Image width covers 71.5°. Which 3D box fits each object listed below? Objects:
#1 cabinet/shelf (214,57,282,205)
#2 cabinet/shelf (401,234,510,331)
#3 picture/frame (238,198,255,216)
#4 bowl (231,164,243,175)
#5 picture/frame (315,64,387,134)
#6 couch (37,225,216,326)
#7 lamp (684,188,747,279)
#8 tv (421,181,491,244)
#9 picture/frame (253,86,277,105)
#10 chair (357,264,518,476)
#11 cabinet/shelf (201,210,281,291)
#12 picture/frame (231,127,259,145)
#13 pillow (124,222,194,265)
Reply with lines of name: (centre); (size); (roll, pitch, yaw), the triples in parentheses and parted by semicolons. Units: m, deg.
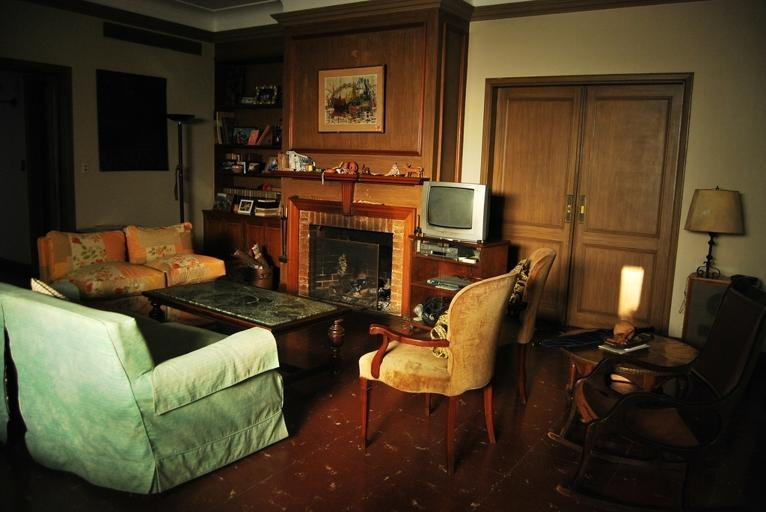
cabinet/shelf: (-2.045, -1.897, 8.030); (1.297, 2.047, 0.514); (12, 14, 37)
cabinet/shelf: (0.790, 0.376, 5.612); (0.651, 1.046, 1.075); (6, 3, -41)
picture/frame: (-1.966, -0.702, 7.688); (0.270, 0.237, 0.037); (1, -8, 35)
bowl: (-2.188, -1.307, 7.995); (0.157, 0.105, 0.154); (0, 2, 0)
picture/frame: (-0.345, -1.886, 6.349); (0.896, 0.741, 0.033); (3, 6, 31)
couch: (-2.662, 0.234, 5.840); (0.888, 1.010, 1.662); (10, 12, 35)
lamp: (3.226, -0.226, 5.164); (0.490, 0.871, 0.409); (11, 14, 34)
tv: (0.821, -0.485, 5.695); (0.738, 0.613, 0.468); (8, 10, 38)
picture/frame: (-1.698, -2.330, 7.734); (0.320, 0.230, 0.044); (7, 6, 36)
chair: (0.397, 0.742, 3.994); (0.933, 1.337, 1.024); (-6, 11, -34)
cabinet/shelf: (-1.967, -0.181, 7.889); (1.483, 0.876, 0.357); (8, 14, 18)
picture/frame: (-2.085, -1.816, 8.078); (0.482, 0.331, 0.117); (3, -2, 25)
pillow: (-2.507, -0.151, 6.082); (0.687, 0.413, 0.213); (-6, 5, -18)
